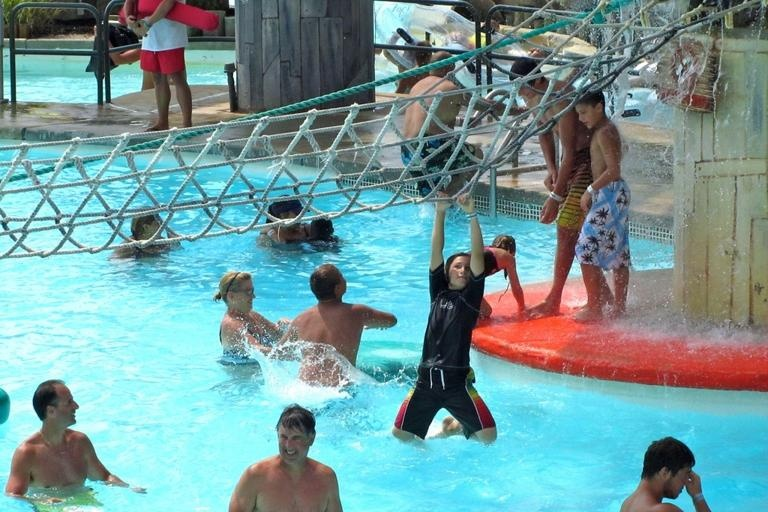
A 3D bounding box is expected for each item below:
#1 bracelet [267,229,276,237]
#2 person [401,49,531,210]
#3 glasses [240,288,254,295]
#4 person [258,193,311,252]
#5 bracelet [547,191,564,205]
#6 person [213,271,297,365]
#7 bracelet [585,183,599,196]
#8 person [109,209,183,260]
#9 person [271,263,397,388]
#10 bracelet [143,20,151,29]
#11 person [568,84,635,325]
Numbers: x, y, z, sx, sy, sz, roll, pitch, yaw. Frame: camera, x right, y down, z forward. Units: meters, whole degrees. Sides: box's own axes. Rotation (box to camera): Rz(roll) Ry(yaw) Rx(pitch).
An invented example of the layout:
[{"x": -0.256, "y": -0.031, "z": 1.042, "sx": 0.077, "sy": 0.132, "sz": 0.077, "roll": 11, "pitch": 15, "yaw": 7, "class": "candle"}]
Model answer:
[{"x": -1.246, "y": -0.257, "z": 8.853, "sx": 0.076, "sy": 0.080, "sz": 0.020, "roll": -18, "pitch": -29, "yaw": 28, "class": "bracelet"}, {"x": 0.807, "y": -1.090, "z": 7.905, "sx": 1.199, "sy": 1.731, "sz": 0.766, "roll": -12, "pitch": 22, "yaw": -13, "class": "person"}, {"x": -1.053, "y": 0.277, "z": 6.248, "sx": 0.063, "sy": 0.046, "sz": 0.050, "roll": 6, "pitch": 4, "yaw": 5, "class": "glasses"}, {"x": -1.083, "y": -0.308, "z": 8.780, "sx": 0.724, "sy": 0.699, "sz": 0.441, "roll": -6, "pitch": 13, "yaw": -22, "class": "person"}, {"x": 1.376, "y": -0.468, "z": 6.384, "sx": 0.099, "sy": 0.039, "sz": 0.101, "roll": 30, "pitch": 1, "yaw": -3, "class": "bracelet"}, {"x": -1.000, "y": 0.401, "z": 6.446, "sx": 0.714, "sy": 0.796, "sz": 0.584, "roll": -5, "pitch": 19, "yaw": -6, "class": "person"}, {"x": 1.542, "y": -0.490, "z": 5.926, "sx": 0.080, "sy": 0.063, "sz": 0.089, "roll": -2, "pitch": -12, "yaw": 0, "class": "bracelet"}, {"x": -2.383, "y": -0.185, "z": 8.111, "sx": 0.723, "sy": 0.381, "sz": 0.958, "roll": -8, "pitch": -3, "yaw": -27, "class": "person"}, {"x": -0.373, "y": 0.488, "z": 5.881, "sx": 0.840, "sy": 0.850, "sz": 0.399, "roll": -2, "pitch": 6, "yaw": -10, "class": "person"}, {"x": -3.187, "y": -3.130, "z": 10.801, "sx": 0.077, "sy": 0.094, "sz": 0.180, "roll": -5, "pitch": 7, "yaw": -33, "class": "bracelet"}, {"x": 1.642, "y": -0.366, "z": 6.039, "sx": 0.357, "sy": 1.710, "sz": 0.577, "roll": 2, "pitch": 7, "yaw": 28, "class": "person"}]
